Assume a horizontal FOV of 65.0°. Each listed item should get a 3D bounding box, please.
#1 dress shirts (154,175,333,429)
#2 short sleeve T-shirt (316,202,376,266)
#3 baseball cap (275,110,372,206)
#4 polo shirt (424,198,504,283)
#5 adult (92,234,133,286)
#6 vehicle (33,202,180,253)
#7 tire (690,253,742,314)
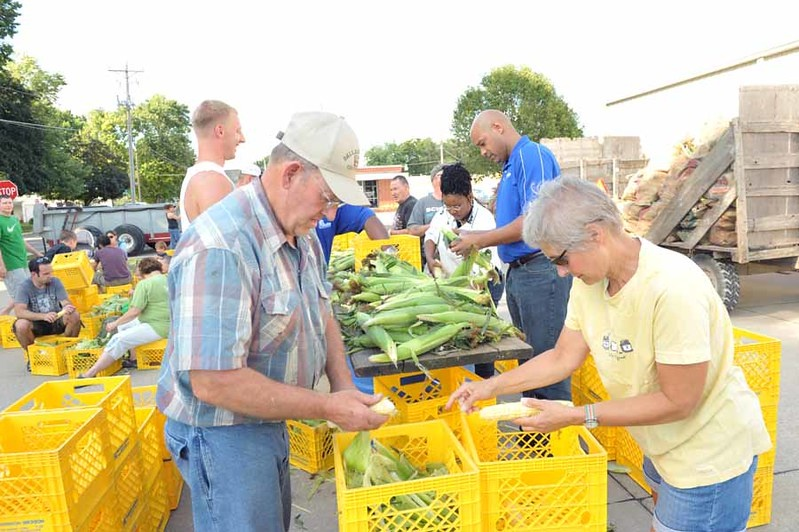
[{"bbox_3d":[-0.995,0.227,4.092,1.104,1.582,0.524,-5,4,-21],"label":"dress shirts"},{"bbox_3d":[-0.571,-0.422,6.570,0.578,0.345,0.795,8,18,32],"label":"short sleeve T-shirt"},{"bbox_3d":[-0.488,-0.697,4.076,0.509,0.621,0.320,-2,4,22],"label":"baseball cap"},{"bbox_3d":[0.627,-0.287,7.331,0.937,0.914,0.799,-11,2,-15],"label":"polo shirt"},{"bbox_3d":[-5.991,-0.136,12.891,0.800,1.060,0.784,-8,17,-30],"label":"adult"},{"bbox_3d":[-10.308,-1.378,20.926,4.371,1.899,3.003,-2,6,-12],"label":"vehicle"},{"bbox_3d":[5.028,0.284,9.642,0.282,0.762,0.792,-2,2,15],"label":"tire"}]
